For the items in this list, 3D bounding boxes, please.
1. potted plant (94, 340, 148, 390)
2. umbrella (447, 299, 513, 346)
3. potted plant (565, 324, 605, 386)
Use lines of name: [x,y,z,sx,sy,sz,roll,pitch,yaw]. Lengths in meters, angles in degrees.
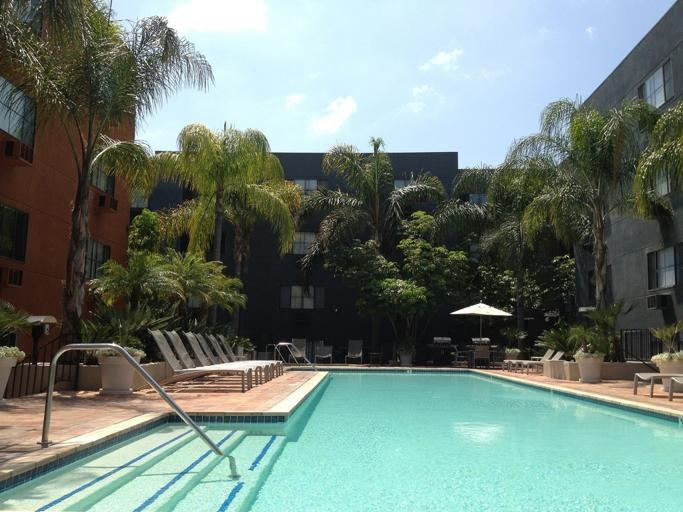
potted plant: [-4.296,2.243,10.284,0.739,0.847,0.871,-1,-26,-17]
umbrella: [5.370,2.342,21.109,1.834,1.600,2.060,3,-3,-11]
potted plant: [6.787,2.731,14.984,1.137,1.838,1.183,2,-10,-1]
